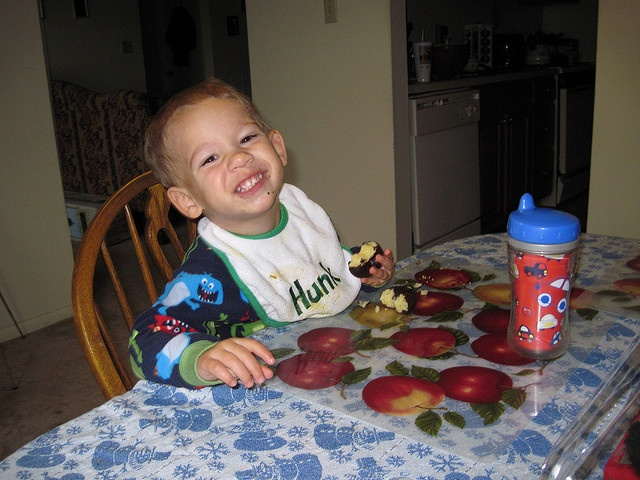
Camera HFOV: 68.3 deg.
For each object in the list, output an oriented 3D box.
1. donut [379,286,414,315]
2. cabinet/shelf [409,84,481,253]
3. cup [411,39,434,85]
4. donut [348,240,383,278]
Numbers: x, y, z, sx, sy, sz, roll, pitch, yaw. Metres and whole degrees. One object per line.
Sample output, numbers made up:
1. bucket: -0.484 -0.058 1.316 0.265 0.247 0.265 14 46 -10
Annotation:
1. donut: 0.132 0.104 0.818 0.039 0.021 0.050 0 9 16
2. cabinet/shelf: 0.736 -0.434 2.765 0.191 0.834 0.709 15 30 37
3. cup: 0.575 -1.013 2.682 0.108 0.207 0.233 1 24 11
4. donut: 0.090 0.040 0.931 0.061 0.031 0.073 -39 13 25
